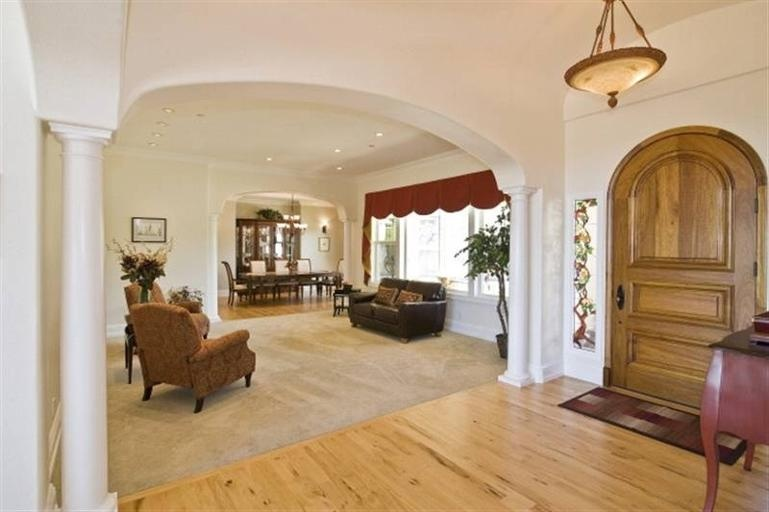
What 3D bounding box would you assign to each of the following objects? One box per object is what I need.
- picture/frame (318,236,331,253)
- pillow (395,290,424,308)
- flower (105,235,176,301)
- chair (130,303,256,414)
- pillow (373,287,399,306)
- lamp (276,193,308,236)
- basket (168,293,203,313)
[{"bbox_3d":[-1.834,-0.389,14.869,0.060,0.485,0.434,4,7,38],"label":"picture/frame"},{"bbox_3d":[0.393,0.708,8.325,0.400,0.273,0.117,-4,-34,48],"label":"pillow"},{"bbox_3d":[-3.774,0.151,7.468,1.157,1.134,0.938,1,3,24],"label":"flower"},{"bbox_3d":[-2.256,1.078,6.005,1.165,1.387,1.343,2,4,24],"label":"chair"},{"bbox_3d":[0.038,0.708,8.863,0.367,0.309,0.099,3,-19,39],"label":"pillow"},{"bbox_3d":[-2.613,-1.154,13.899,0.790,1.074,1.189,-1,5,-5],"label":"lamp"},{"bbox_3d":[-2.994,0.686,7.327,0.388,0.408,0.399,-5,-7,42],"label":"basket"}]
